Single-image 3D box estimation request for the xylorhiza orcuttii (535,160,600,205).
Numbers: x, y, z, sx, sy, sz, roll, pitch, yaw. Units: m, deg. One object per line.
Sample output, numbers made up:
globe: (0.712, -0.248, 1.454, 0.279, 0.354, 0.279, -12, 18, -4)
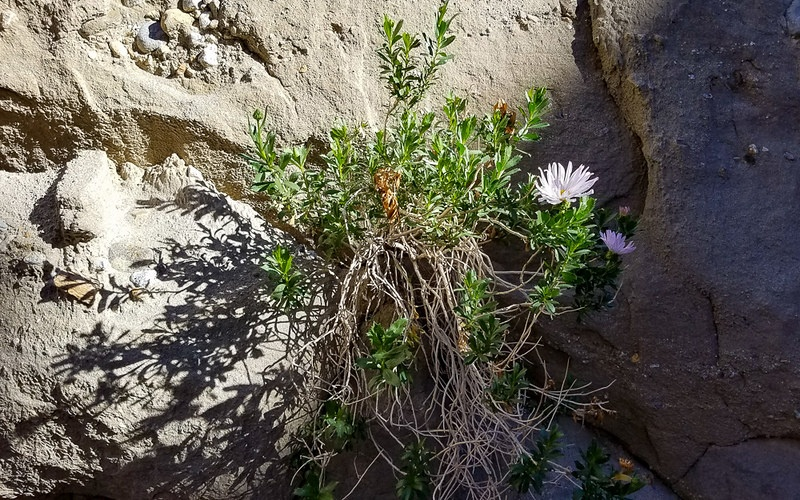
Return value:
xylorhiza orcuttii: (0.671, -0.265, 3.259, 0.251, 0.119, 0.261, 7, -30, -35)
